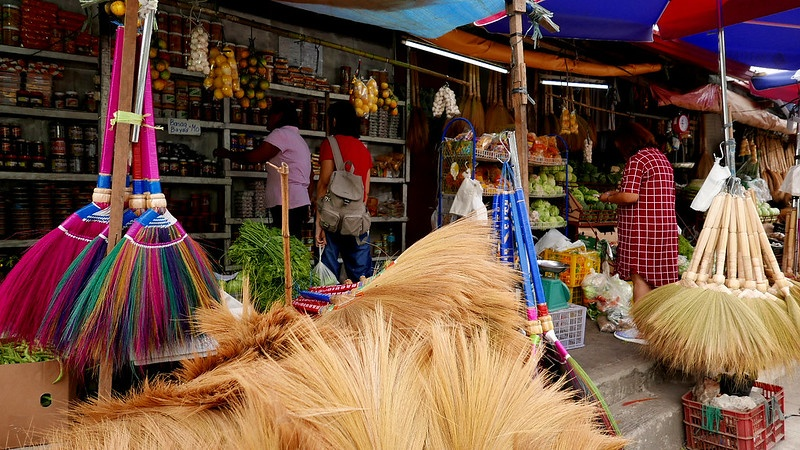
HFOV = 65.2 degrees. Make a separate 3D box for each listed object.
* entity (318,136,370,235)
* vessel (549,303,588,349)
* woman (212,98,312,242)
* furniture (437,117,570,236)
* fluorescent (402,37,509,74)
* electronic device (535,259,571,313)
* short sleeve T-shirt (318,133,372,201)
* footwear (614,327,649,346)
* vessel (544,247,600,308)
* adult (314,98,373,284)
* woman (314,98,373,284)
[{"bbox_3d":[-0.578,-0.361,6.383,0.487,0.932,0.465,3,15,-19],"label":"entity"},{"bbox_3d":[1.577,0.952,6.018,0.379,0.419,0.407,-2,9,-1],"label":"vessel"},{"bbox_3d":[-1.437,-0.295,6.757,0.909,2.019,0.761,1,1,-1],"label":"woman"},{"bbox_3d":[1.284,-0.510,7.618,1.400,1.551,0.498,3,-11,-16],"label":"furniture"},{"bbox_3d":[0.676,-2.062,7.664,1.342,0.129,0.153,17,-5,3],"label":"fluorescent"},{"bbox_3d":[1.437,0.571,5.912,0.319,0.423,0.349,1,11,0],"label":"electronic device"},{"bbox_3d":[-0.588,-0.616,6.670,0.390,0.829,0.607,-13,-8,42],"label":"short sleeve T-shirt"},{"bbox_3d":[2.254,1.071,6.063,0.132,0.151,0.352,7,0,-37],"label":"footwear"},{"bbox_3d":[1.943,0.535,7.077,0.522,0.723,0.690,2,-1,-9],"label":"vessel"},{"bbox_3d":[-0.582,-0.233,6.599,0.622,2.196,0.628,2,19,-7],"label":"adult"},{"bbox_3d":[-0.589,-0.266,6.577,0.619,2.191,0.614,0,24,-10],"label":"woman"}]
